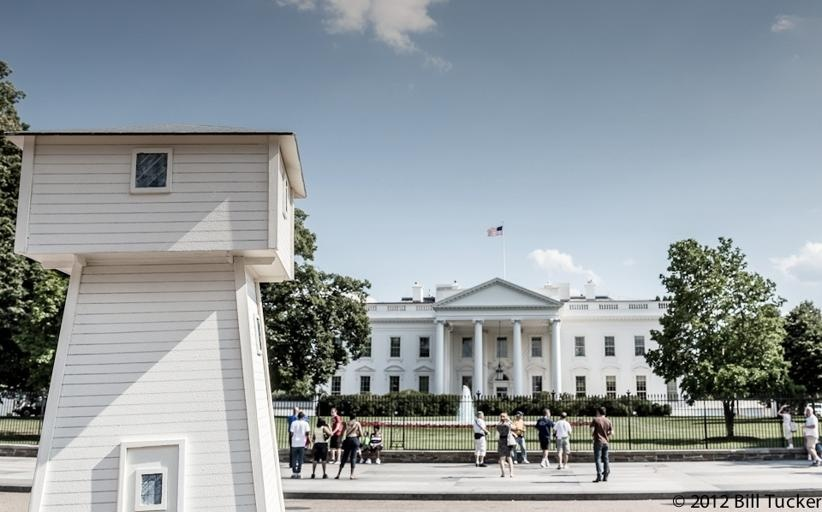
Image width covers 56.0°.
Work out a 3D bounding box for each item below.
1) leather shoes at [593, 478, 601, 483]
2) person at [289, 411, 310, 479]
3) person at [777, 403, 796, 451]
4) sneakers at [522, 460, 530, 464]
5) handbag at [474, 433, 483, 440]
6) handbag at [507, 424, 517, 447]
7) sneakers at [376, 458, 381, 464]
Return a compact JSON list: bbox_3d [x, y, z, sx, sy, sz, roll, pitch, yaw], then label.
[{"bbox_3d":[6.822,8.231,28.405,0.272,0.105,0.332,-7,-14,22],"label":"leather shoes"},{"bbox_3d":[-4.257,7.086,29.194,0.627,2.492,1.299,1,-14,-7],"label":"person"},{"bbox_3d":[16.469,7.440,33.922,0.500,1.877,1.607,-8,-15,24],"label":"person"},{"bbox_3d":[4.905,8.716,32.789,0.212,0.133,0.430,-12,-17,39],"label":"sneakers"},{"bbox_3d":[2.751,7.379,31.685,0.287,0.204,0.282,-1,1,-31],"label":"handbag"},{"bbox_3d":[3.885,6.944,30.089,0.381,1.081,1.110,-6,-13,13],"label":"handbag"},{"bbox_3d":[-1.429,8.795,33.127,0.244,0.263,0.196,0,-1,9],"label":"sneakers"}]
